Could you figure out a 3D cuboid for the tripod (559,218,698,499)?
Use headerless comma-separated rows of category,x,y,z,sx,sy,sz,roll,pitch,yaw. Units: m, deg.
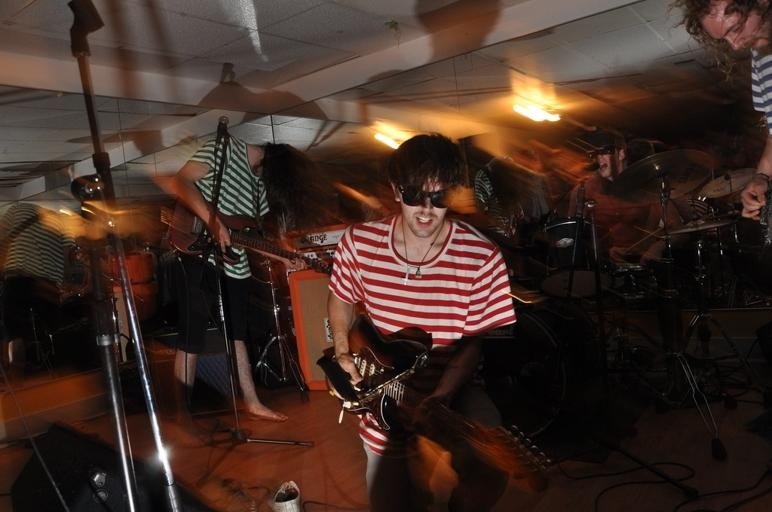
tripod,1.794,0.825,4.489,1.224,1.623,1.063,-5,-5,38

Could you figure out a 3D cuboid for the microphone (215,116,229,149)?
microphone,-1.308,-1.001,4.576,0.104,0.251,0.343,-5,1,-16

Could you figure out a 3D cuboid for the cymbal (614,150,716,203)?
cymbal,2.352,-0.654,4.759,0.581,0.121,0.533,9,-29,-17

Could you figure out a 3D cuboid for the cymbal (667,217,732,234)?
cymbal,2.729,-0.257,4.838,0.360,0.077,0.335,-8,1,-21

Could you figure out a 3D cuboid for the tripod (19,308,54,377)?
tripod,-3.824,0.934,6.249,0.154,0.594,0.333,13,14,31

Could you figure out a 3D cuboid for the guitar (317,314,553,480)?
guitar,0.222,0.799,3.276,1.235,0.855,0.195,-4,2,20

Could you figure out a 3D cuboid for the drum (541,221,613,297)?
drum,1.511,-0.009,4.613,0.524,0.630,0.173,-11,12,7

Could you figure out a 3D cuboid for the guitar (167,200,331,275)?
guitar,-1.272,-0.200,4.935,0.218,0.587,1.529,-49,-14,2
